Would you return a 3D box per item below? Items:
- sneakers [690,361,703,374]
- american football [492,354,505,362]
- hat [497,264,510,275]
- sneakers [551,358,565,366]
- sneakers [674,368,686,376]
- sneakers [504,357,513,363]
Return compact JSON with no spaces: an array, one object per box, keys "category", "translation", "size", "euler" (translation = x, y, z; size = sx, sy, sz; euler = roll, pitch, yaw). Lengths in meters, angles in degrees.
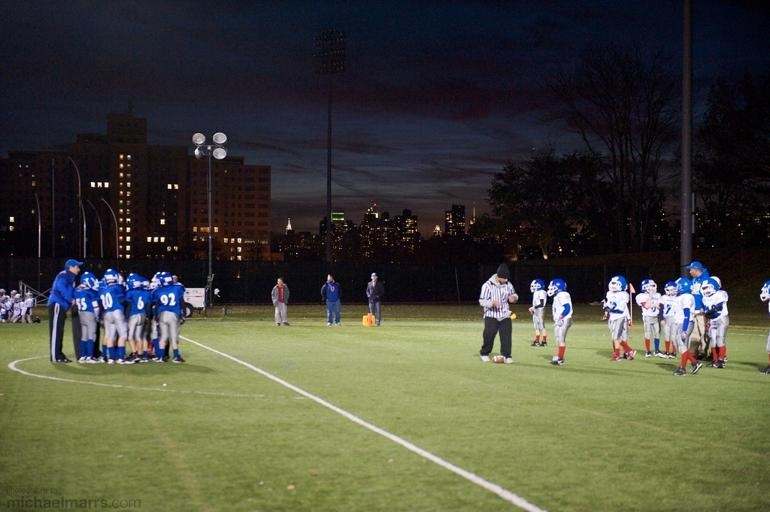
[{"category":"sneakers","translation":[8.004,2.889,20.049],"size":[0.430,0.183,0.140],"euler":[-35,-18,-42]},{"category":"american football","translation":[3.095,2.801,21.181],"size":[0.230,0.130,0.233],"euler":[2,-3,-38]},{"category":"hat","translation":[3.199,0.398,21.246],"size":[0.275,0.326,0.513],"euler":[1,4,10]},{"category":"sneakers","translation":[4.774,2.919,21.279],"size":[0.394,0.154,0.140],"euler":[16,-14,-42]},{"category":"sneakers","translation":[7.500,2.927,19.811],"size":[0.308,0.212,0.546],"euler":[2,4,20]},{"category":"sneakers","translation":[3.342,2.852,21.284],"size":[0.151,0.157,0.423],"euler":[8,-8,6]}]
